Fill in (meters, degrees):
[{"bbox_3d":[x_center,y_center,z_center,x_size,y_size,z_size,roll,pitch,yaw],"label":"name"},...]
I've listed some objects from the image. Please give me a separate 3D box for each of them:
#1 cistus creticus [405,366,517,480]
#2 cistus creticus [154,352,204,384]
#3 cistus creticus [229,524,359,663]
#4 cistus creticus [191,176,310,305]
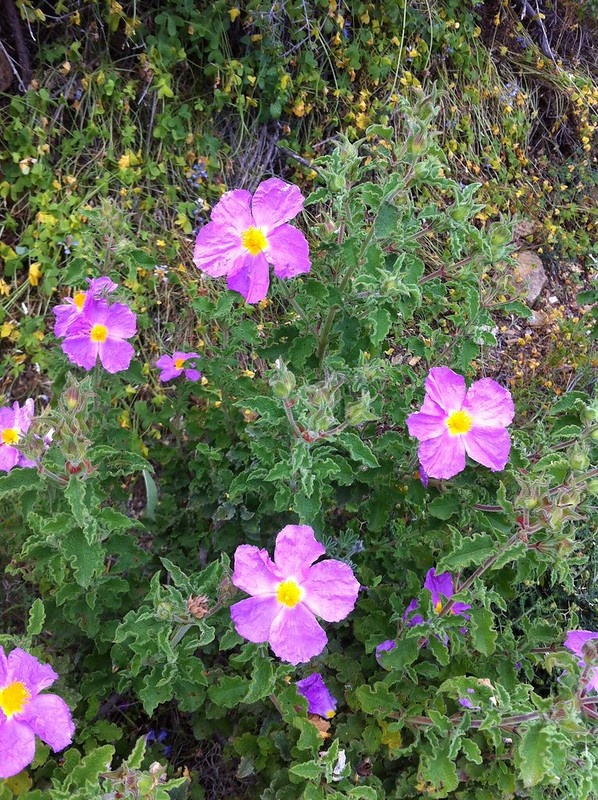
[{"bbox_3d":[0.448,0.065,1.979,0.326,0.198,0.265,-5,54,-14],"label":"cistus creticus"},{"bbox_3d":[-0.472,-0.112,2.746,0.138,0.048,0.135,-33,57,-24],"label":"cistus creticus"},{"bbox_3d":[-0.034,0.442,1.704,0.273,0.270,0.090,-33,104,-63],"label":"cistus creticus"},{"bbox_3d":[-0.140,-0.407,1.958,0.292,0.321,0.310,-5,54,-14],"label":"cistus creticus"}]
